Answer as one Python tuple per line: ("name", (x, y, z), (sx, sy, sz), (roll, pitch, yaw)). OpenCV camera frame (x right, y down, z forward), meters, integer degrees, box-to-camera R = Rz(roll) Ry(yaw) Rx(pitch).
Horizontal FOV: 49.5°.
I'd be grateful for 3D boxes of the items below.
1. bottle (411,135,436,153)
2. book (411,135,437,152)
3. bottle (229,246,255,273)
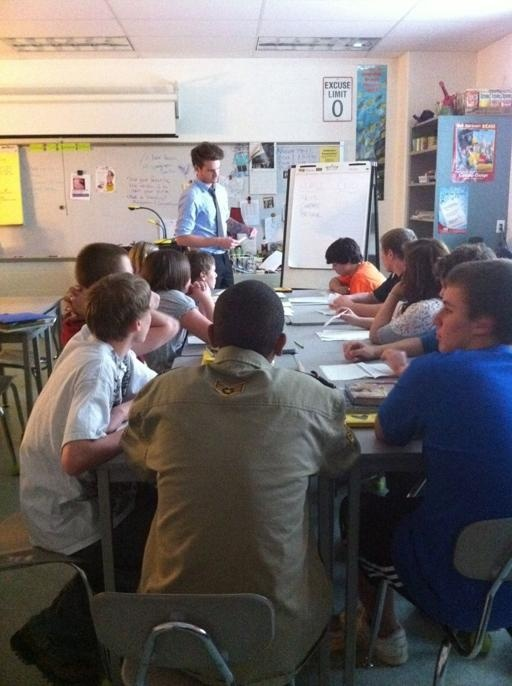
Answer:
("bottle", (1.569, -1.859, 5.201), (0.178, 0.084, 0.235), (0, 3, 5))
("book", (1.571, -1.861, 5.188), (0.178, 0.080, 0.234), (0, 3, 3))
("bottle", (-0.130, -0.797, 5.462), (0.244, 0.303, 0.105), (4, -11, -2))
